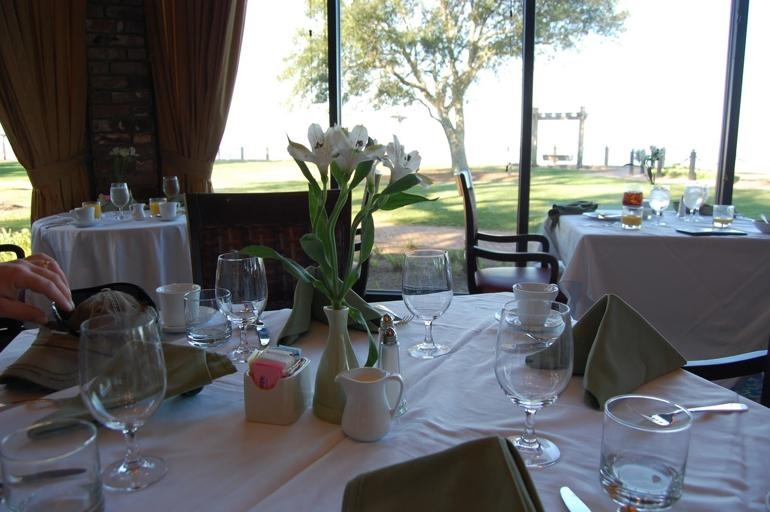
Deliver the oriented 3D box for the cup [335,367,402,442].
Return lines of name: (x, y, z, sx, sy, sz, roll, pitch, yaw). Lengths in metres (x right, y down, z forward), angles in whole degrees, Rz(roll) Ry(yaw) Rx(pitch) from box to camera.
cup: (-0.033, 0.288, 1.072, 0.133, 0.144, 0.103, 0, 3, -15)

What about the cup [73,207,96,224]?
cup: (-1.600, -0.214, 2.855, 0.076, 0.088, 0.105, -1, 0, 0)

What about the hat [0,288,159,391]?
hat: (-0.739, 0.229, 1.325, 0.188, 0.108, 0.312, 7, 25, 19)

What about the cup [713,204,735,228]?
cup: (1.768, -0.212, 2.782, 0.099, 0.139, 0.139, -1, 5, 12)

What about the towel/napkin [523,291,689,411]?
towel/napkin: (0.488, 0.195, 1.219, 0.283, 0.134, 0.278, -26, 15, -23)

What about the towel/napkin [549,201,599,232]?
towel/napkin: (1.150, -0.284, 3.275, 0.262, 0.105, 0.159, -24, 10, -10)

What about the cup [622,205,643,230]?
cup: (1.277, -0.208, 2.744, 0.082, 0.129, 0.139, 0, 3, 2)

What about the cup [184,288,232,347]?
cup: (-0.461, 0.155, 1.444, 0.133, 0.170, 0.147, 0, 3, -1)

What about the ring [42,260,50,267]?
ring: (-0.872, 0.019, 1.382, 0.015, 0.017, 0.017, 2, 0, 0)

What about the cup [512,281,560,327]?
cup: (0.337, 0.103, 1.147, 0.107, 0.100, 0.118, -4, 10, 1)

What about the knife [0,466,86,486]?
knife: (-0.551, 0.362, 0.885, 0.102, 0.027, 0.008, -5, 11, -16)

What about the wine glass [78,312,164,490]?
wine glass: (-0.499, 0.268, 1.021, 0.182, 0.308, 0.131, 7, 14, 41)

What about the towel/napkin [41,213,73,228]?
towel/napkin: (-1.879, -0.209, 3.083, 0.166, 0.040, 0.154, 11, 15, 36)

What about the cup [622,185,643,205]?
cup: (1.300, -0.317, 2.847, 0.112, 0.133, 0.122, 0, 0, 0)

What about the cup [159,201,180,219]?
cup: (-1.216, -0.256, 3.045, 0.084, 0.089, 0.105, -2, -5, 39)

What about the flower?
flower: (-0.108, -0.102, 1.405, 0.453, 0.611, 0.468, -13, 19, -38)

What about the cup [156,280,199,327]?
cup: (-0.573, 0.125, 1.491, 0.110, 0.122, 0.126, 0, 1, -1)

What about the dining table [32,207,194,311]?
dining table: (-1.375, -0.016, 2.783, 0.630, 0.429, 0.660, 0, 8, 1)
